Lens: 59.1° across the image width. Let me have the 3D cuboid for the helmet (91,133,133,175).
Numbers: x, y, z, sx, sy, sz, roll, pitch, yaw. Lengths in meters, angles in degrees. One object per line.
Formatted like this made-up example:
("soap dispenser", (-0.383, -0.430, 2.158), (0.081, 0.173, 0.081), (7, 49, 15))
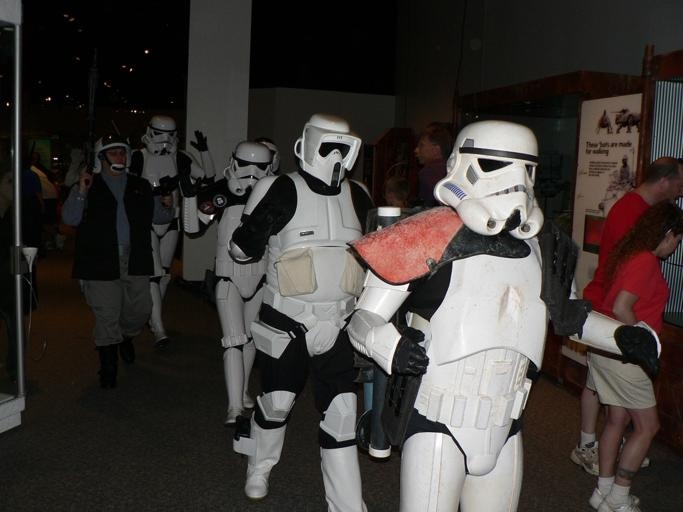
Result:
("helmet", (-2.072, -0.920, 5.402), (0.324, 0.346, 0.346), (-3, 10, -24))

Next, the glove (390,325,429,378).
("glove", (0.277, 0.395, 2.403), (0.069, 0.180, 0.155), (-3, 16, -30))

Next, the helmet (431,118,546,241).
("helmet", (0.628, -0.323, 2.674), (0.411, 0.502, 0.465), (-1, 8, -25))

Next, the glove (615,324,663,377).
("glove", (1.318, 0.432, 2.691), (0.161, 0.241, 0.066), (-26, 2, -9))

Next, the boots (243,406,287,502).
("boots", (-0.490, 1.246, 3.726), (0.181, 0.444, 0.642), (8, 38, -2))

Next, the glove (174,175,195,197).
("glove", (-1.170, -0.537, 4.599), (0.129, 0.172, 0.173), (-2, 10, -19))

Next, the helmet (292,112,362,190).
("helmet", (-0.115, -0.619, 3.667), (0.444, 0.495, 0.354), (-1, 6, -35))

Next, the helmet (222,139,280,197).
("helmet", (-0.730, -0.704, 4.768), (0.350, 0.437, 0.432), (6, 10, -6))

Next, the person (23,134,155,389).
("person", (-2.048, 0.032, 5.360), (0.767, 2.181, 0.410), (-5, 10, -34))

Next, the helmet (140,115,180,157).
("helmet", (-1.943, -1.293, 6.456), (0.349, 0.407, 0.383), (-3, 12, -26))

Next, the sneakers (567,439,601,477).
("sneakers", (1.694, 1.369, 4.211), (0.119, 0.180, 0.250), (-2, 24, -43))
